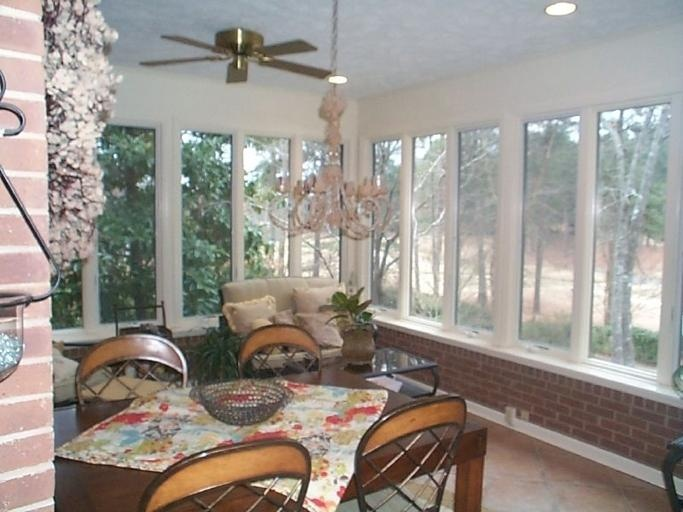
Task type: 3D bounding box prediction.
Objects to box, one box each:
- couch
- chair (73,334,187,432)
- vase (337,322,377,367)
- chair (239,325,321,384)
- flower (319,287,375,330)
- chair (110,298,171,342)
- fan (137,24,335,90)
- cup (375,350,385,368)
[{"bbox_3d":[-0.404,0.549,5.196,1.335,0.659,0.599,-10,-28,23],"label":"couch"},{"bbox_3d":[-0.978,0.683,2.551,0.464,0.545,0.426,0,0,-1],"label":"chair"},{"bbox_3d":[0.089,0.645,3.928,0.313,0.283,0.301,1,-5,-6],"label":"vase"},{"bbox_3d":[-0.387,0.509,3.141,0.395,0.487,0.343,0,6,-14],"label":"chair"},{"bbox_3d":[0.121,0.407,3.928,0.460,0.233,0.393,-2,-4,-2],"label":"flower"},{"bbox_3d":[-1.785,0.547,4.716,0.371,0.646,0.376,-1,-4,-30],"label":"chair"},{"bbox_3d":[-0.650,-1.356,3.644,1.289,0.244,1.249,0,6,-16],"label":"fan"},{"bbox_3d":[0.301,0.819,4.260,0.075,0.131,0.073,1,-1,0],"label":"cup"}]
